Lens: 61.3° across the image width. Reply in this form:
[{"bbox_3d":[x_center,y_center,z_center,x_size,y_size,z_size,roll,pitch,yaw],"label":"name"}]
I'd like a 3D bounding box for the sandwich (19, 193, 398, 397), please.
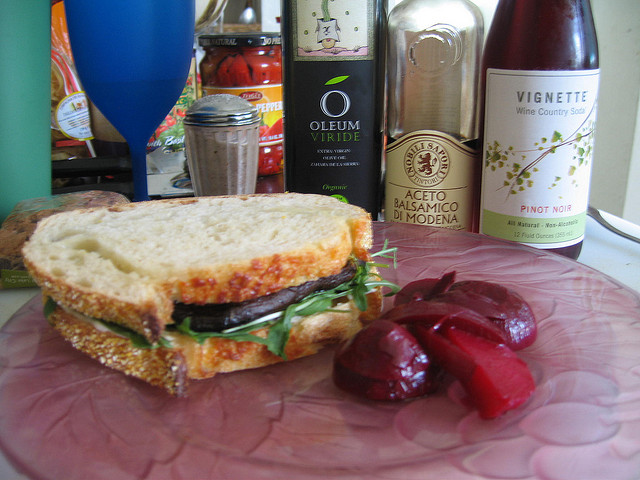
[{"bbox_3d":[-0.112,0.063,0.767,0.480,0.082,0.317,-10,23,-25],"label":"sandwich"}]

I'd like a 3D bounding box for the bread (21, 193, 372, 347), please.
[{"bbox_3d":[-0.160,0.021,0.779,0.420,0.056,0.279,-5,15,-21],"label":"bread"}]

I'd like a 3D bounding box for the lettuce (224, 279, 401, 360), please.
[{"bbox_3d":[-0.003,0.089,0.759,0.252,0.044,0.087,-21,0,-9],"label":"lettuce"}]

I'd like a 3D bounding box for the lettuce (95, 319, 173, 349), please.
[{"bbox_3d":[-0.243,0.124,0.700,0.058,0.013,0.052,21,8,41],"label":"lettuce"}]
